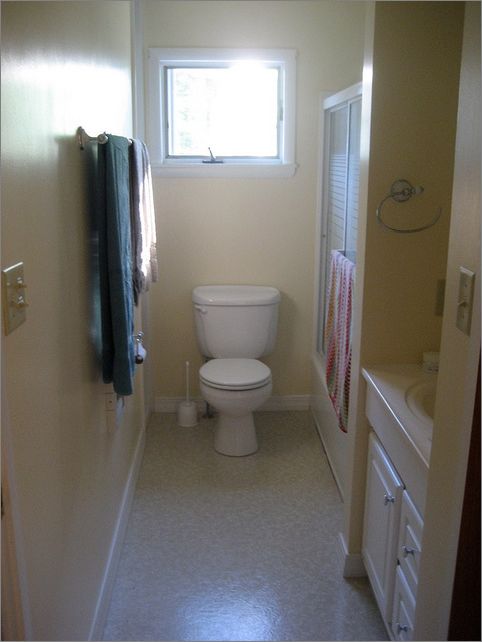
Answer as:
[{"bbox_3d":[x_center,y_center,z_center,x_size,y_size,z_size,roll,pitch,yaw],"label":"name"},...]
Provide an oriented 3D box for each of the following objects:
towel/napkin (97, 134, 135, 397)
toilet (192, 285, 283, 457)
[{"bbox_3d":[-0.379,-0.174,1.529,0.104,0.749,0.281,-2,9,-15],"label":"towel/napkin"},{"bbox_3d":[-0.027,0.236,2.957,0.427,1.035,0.806,0,16,-1],"label":"toilet"}]
